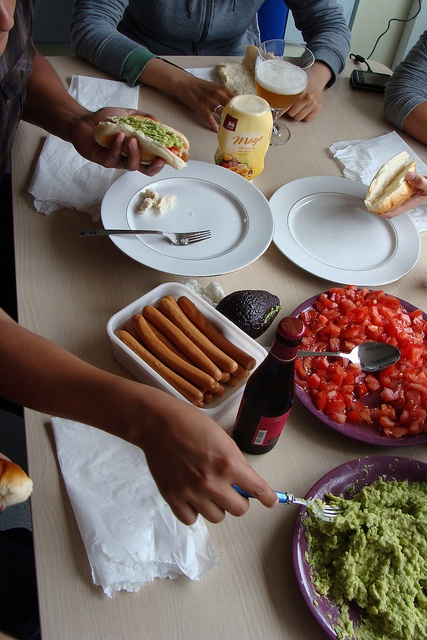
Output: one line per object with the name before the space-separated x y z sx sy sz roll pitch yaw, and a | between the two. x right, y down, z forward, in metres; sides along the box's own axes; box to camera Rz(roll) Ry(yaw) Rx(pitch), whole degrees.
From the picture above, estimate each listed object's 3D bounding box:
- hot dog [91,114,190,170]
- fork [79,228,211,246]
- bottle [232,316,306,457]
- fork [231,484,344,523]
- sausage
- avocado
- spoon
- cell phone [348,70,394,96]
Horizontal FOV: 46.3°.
hot dog | -0.147 -0.360 1.052 0.190 0.064 0.096 17 14 -14
fork | -0.128 -0.167 1.004 0.263 0.033 0.037 1 38 -9
bottle | 0.067 0.101 0.632 0.087 0.192 0.071 5 33 4
fork | 0.097 0.243 0.652 0.159 0.023 0.021 24 31 -25
sausage | -0.055 0.048 0.866 0.243 0.149 0.168 -24 41 -33
avocado | 0.066 -0.013 0.897 0.099 0.085 0.099 -2 27 -15
spoon | 0.170 0.069 0.874 0.290 0.041 0.078 -1 69 -2
cell phone | 0.513 -0.782 1.640 0.133 0.035 0.080 5 57 -4
